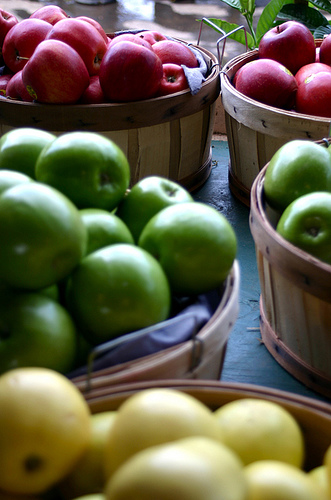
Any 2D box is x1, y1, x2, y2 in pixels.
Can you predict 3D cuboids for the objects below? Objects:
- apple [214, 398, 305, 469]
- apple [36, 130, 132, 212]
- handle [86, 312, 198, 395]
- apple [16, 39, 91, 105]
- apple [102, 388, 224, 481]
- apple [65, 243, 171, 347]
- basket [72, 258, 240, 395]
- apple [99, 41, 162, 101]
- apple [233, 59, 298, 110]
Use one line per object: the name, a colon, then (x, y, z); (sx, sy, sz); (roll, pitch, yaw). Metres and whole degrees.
apple: (0.077, 0.151, 0.360); (0.053, 0.043, 0.042); (16, 41, -36)
apple: (-0.162, -0.127, 0.729); (0.104, 0.111, 0.100); (11, -17, -40)
handle: (-0.028, 0.094, 0.435); (0.158, 0.086, 0.015); (-5, -8, 34)
apple: (-0.344, -0.554, 1.389); (0.186, 0.150, 0.154); (38, 56, -1)
apple: (0.005, 0.130, 0.340); (0.072, 0.081, 0.071); (-3, 37, 4)
apple: (-0.050, 0.055, 0.648); (0.151, 0.130, 0.135); (26, 18, 40)
basket: (0.010, 0.121, 0.557); (0.171, 0.124, 0.155); (-14, 25, 11)
apple: (-0.114, -0.585, 1.485); (0.225, 0.196, 0.217); (5, 21, -2)
apple: (0.385, -0.613, 1.568); (0.190, 0.200, 0.214); (-11, 35, -16)
